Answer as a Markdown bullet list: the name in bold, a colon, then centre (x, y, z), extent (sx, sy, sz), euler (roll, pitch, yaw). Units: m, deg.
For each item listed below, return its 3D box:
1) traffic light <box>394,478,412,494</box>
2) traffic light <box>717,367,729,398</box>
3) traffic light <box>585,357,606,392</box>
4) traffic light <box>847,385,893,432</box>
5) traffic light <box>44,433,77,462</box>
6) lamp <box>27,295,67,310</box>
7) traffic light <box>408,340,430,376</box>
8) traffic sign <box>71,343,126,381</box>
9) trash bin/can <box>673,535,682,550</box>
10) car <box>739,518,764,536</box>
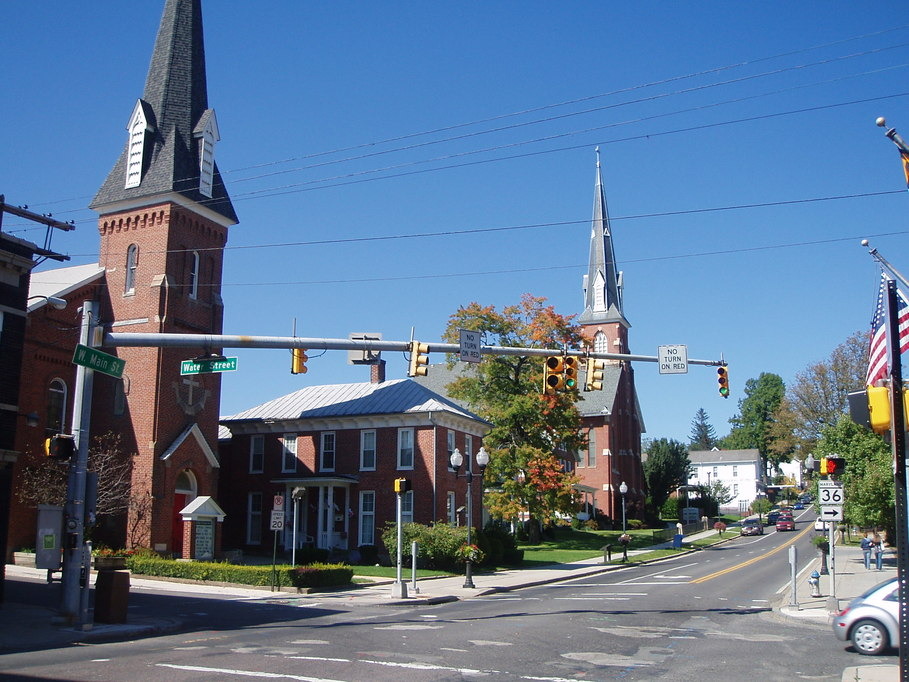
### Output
- **traffic light**: centre (-1.921, 5.402, 38.954), extent (0.481, 0.591, 1.332), euler (-2, -15, 3)
- **traffic light**: centre (9.007, 1.345, 34.696), extent (0.234, 1.006, 0.430), euler (-7, -15, 24)
- **traffic light**: centre (4.564, 1.005, 33.767), extent (0.588, 1.116, 1.191), euler (-3, -14, 6)
- **traffic light**: centre (9.844, 1.748, 24.144), extent (0.680, 1.183, 0.757), euler (-13, -39, 30)
- **traffic light**: centre (-11.500, 3.056, 30.350), extent (0.801, 0.731, 0.553), euler (4, -15, -22)
- **lamp**: centre (-18.269, -1.744, 46.536), extent (1.237, 0.660, 0.739), euler (0, -49, 6)
- **traffic light**: centre (-1.093, 0.493, 31.860), extent (0.586, 0.980, 1.459), euler (-1, -14, -2)
- **traffic sign**: centre (-10.749, 0.492, 30.975), extent (1.000, 0.920, 1.874), euler (-10, -17, 31)
- **trash bin/can**: centre (15.036, 13.408, 69.670), extent (0.625, 1.252, 0.651), euler (0, -2, 19)
- **car**: centre (24.627, 15.273, 85.359), extent (1.230, 1.135, 3.021), euler (-7, -18, 19)
